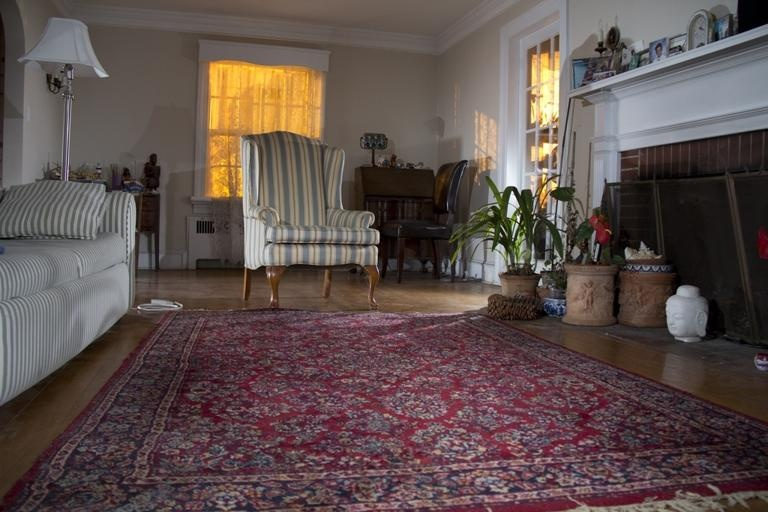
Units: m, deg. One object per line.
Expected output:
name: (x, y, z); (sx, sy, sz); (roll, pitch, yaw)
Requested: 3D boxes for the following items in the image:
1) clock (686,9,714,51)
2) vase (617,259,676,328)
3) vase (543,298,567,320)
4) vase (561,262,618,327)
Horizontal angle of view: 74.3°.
clock: (1.975, -1.412, 3.168); (0.044, 0.224, 0.182); (0, 6, -14)
vase: (1.641, 0.221, 3.199); (0.409, 0.414, 0.399); (1, 0, 6)
vase: (1.169, 0.361, 3.458); (0.130, 0.083, 0.133); (1, 0, -10)
vase: (1.323, 0.234, 3.254); (0.392, 0.381, 0.371); (1, 0, 1)
